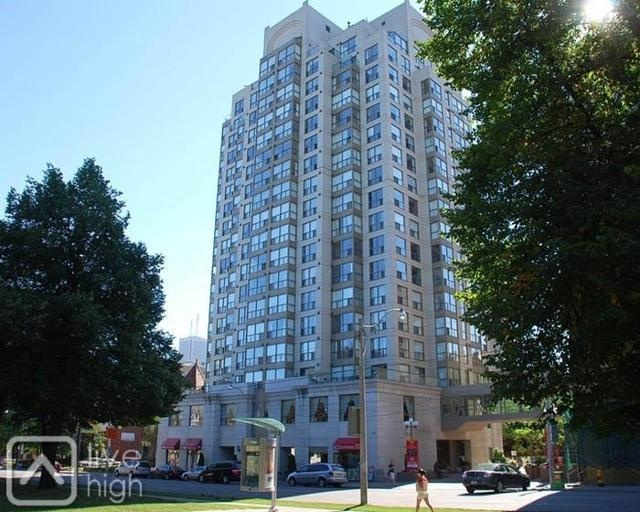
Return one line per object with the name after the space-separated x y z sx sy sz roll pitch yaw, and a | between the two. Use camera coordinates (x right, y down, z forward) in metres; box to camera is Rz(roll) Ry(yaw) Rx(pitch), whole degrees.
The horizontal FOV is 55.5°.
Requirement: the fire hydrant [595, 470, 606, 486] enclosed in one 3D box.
17.838 14.536 40.075 0.461 1.040 1.558 -9 -24 21 | fire hydrant

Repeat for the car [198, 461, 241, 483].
-7.446 18.212 51.460 1.260 1.717 4.153 20 -29 -39 | car

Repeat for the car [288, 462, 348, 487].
0.186 16.464 46.012 3.724 1.626 1.355 -10 -24 22 | car

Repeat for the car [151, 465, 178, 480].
-13.845 21.079 59.725 2.928 0.931 1.653 -14 -25 33 | car

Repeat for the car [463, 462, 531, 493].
10.906 14.184 39.068 4.298 1.781 1.327 15 -27 -34 | car

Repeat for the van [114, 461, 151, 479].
-17.170 21.189 60.972 3.014 1.768 3.178 -4 -22 8 | van
